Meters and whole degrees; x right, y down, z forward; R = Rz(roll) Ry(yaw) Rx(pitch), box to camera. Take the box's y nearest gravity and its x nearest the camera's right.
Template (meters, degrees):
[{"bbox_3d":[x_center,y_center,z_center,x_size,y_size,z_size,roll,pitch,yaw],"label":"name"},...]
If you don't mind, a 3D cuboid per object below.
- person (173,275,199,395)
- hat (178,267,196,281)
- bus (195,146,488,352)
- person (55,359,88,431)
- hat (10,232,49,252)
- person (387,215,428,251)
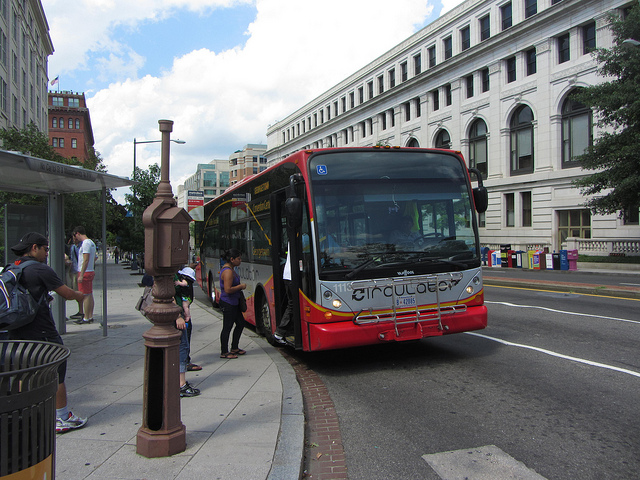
[{"bbox_3d":[-1.965,1.409,7.236,0.301,1.568,0.947,-2,3,-15],"label":"person"},{"bbox_3d":[-2.018,0.506,7.513,0.228,0.089,0.180,10,-12,45],"label":"hat"},{"bbox_3d":[-0.253,0.279,9.555,2.924,3.894,6.071,-4,4,-44],"label":"bus"},{"bbox_3d":[-3.008,1.836,5.868,0.298,0.882,0.546,-1,3,-10],"label":"person"},{"bbox_3d":[-3.493,0.017,5.883,0.346,0.212,0.218,5,-7,-34],"label":"hat"},{"bbox_3d":[1.449,-0.132,8.177,0.715,0.585,0.143,-2,4,-25],"label":"person"}]
